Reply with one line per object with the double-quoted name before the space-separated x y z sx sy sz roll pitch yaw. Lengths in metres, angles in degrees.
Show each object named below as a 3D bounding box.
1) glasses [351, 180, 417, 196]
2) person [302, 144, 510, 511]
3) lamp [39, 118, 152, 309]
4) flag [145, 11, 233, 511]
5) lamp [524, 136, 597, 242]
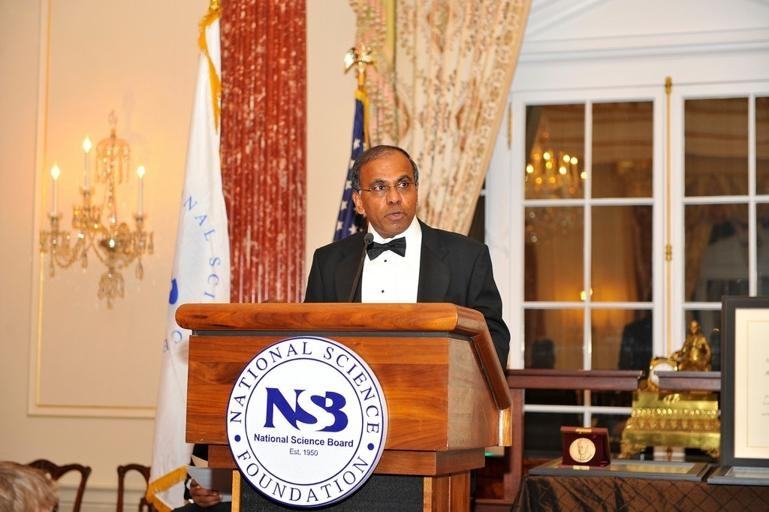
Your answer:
"glasses" 0.011 -0.294 4.473 0.247 0.065 0.127 0 -5 6
"person" 0.071 0.319 4.676 1.013 1.620 0.729 -2 -1 18
"lamp" -1.899 -0.315 6.733 0.768 1.269 0.231 0 -3 18
"flag" -1.089 -0.066 6.022 0.366 3.056 0.472 -1 -3 28
"lamp" 1.111 -0.386 6.600 0.501 0.623 0.530 1 -16 18
